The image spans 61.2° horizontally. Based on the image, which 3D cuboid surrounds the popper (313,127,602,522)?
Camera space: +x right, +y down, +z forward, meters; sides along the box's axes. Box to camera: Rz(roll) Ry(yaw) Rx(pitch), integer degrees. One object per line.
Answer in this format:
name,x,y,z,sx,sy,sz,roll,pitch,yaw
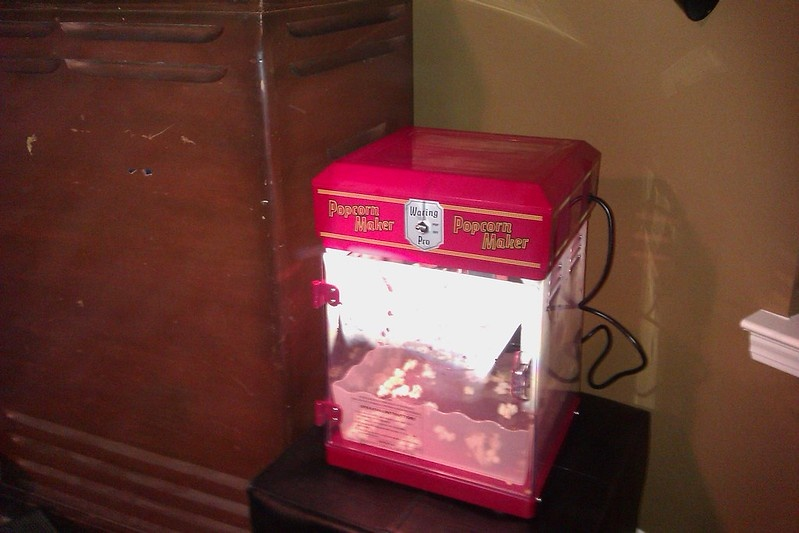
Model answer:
popper,0.128,0.082,1.525,0.652,0.664,0.649,-5,19,-17
